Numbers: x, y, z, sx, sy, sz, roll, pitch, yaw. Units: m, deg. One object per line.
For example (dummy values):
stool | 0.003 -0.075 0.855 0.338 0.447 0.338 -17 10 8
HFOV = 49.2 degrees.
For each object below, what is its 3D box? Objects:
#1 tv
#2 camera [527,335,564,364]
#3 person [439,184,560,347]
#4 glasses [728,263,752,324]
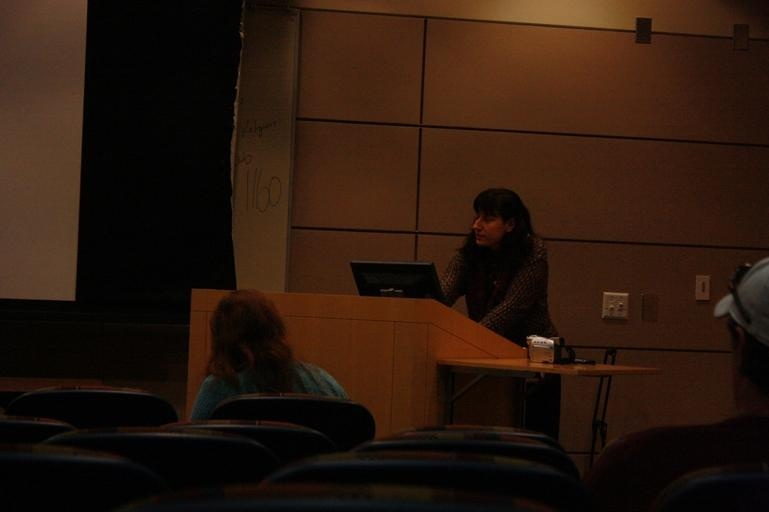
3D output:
tv | 0.075 0.162 5.533 0.629 0.237 0.218 3 -3 31
camera | 1.007 0.594 5.310 0.204 0.207 0.144 0 -7 25
person | 0.829 0.064 5.991 0.806 1.124 0.447 3 -2 8
glasses | 1.610 0.159 3.813 0.050 0.250 0.180 0 -19 17
